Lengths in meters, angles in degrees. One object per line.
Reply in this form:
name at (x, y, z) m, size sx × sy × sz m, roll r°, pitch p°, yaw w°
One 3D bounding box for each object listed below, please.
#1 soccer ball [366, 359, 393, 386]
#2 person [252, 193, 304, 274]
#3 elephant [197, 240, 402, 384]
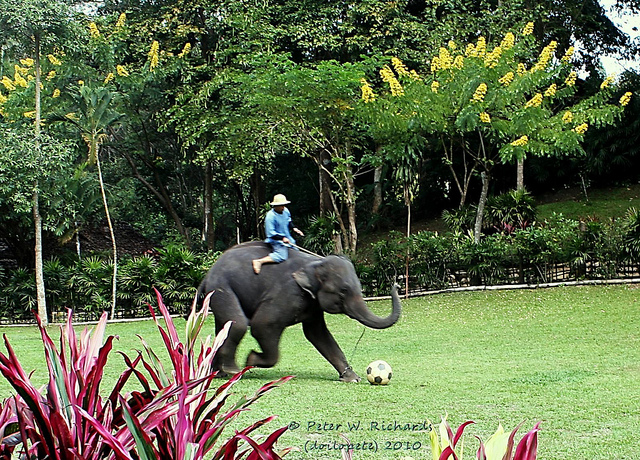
soccer ball at (0.887, 2.085, 11.127) m, size 0.346 × 0.345 × 0.339 m, roll 13°, pitch -13°, yaw 3°
person at (-0.650, 0.132, 11.739) m, size 0.722 × 1.412 × 0.527 m, roll -21°, pitch 31°, yaw -35°
elephant at (-0.445, 1.296, 11.608) m, size 3.484 × 2.111 × 1.274 m, roll 1°, pitch -1°, yaw 14°
